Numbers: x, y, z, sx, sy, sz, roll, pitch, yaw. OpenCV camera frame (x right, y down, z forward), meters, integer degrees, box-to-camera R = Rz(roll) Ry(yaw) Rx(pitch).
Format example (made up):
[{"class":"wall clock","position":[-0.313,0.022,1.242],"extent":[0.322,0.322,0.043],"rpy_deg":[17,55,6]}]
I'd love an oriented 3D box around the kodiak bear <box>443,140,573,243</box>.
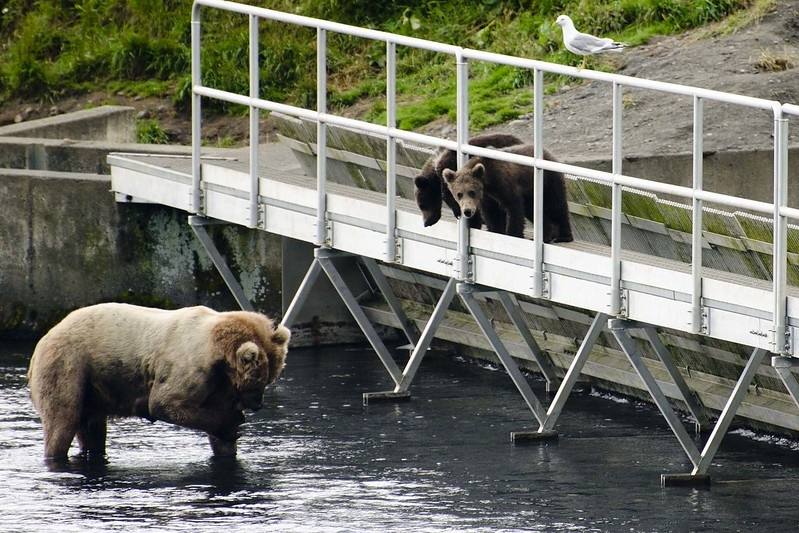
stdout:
[{"class":"kodiak bear","position":[1.373,-0.865,32.167],"extent":[1.848,1.438,0.872],"rpy_deg":[-4,-2,-6]}]

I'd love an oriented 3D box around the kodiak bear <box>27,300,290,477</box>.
[{"class":"kodiak bear","position":[-3.001,1.533,31.877],"extent":[3.172,1.981,1.441],"rpy_deg":[4,8,15]}]
